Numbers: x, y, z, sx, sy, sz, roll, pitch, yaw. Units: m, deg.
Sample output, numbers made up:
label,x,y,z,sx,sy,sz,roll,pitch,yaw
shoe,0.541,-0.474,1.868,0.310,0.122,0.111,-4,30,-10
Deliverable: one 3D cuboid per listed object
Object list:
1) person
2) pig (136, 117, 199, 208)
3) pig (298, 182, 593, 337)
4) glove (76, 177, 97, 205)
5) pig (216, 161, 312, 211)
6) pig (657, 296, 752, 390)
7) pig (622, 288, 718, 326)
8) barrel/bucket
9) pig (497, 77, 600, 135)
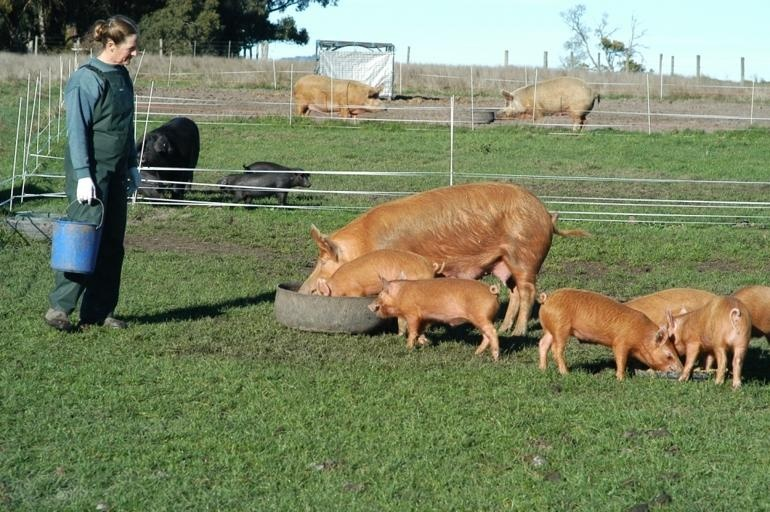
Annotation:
label,x,y,z,sx,sy,sz,roll,pitch,yaw
person,-3.552,-0.949,11.684,1.289,3.929,1.166,1,2,3
pig,-4.242,-1.974,18.491,0.770,1.312,2.587,4,15,5
pig,1.472,0.481,14.433,5.662,2.473,2.304,-2,-4,14
glove,-3.529,-0.768,11.031,0.213,0.300,0.089,-3,3,0
pig,-2.253,-1.400,17.885,1.628,0.769,1.025,3,9,1
pig,3.565,0.910,10.325,0.869,0.947,0.403,7,10,30
pig,3.394,0.648,11.156,1.236,0.659,0.425,-3,-4,8
barrel/bucket,-3.625,-0.264,11.321,0.809,0.877,0.823,7,-7,1
pig,5.251,-4.836,29.135,2.938,1.559,1.525,10,12,42
